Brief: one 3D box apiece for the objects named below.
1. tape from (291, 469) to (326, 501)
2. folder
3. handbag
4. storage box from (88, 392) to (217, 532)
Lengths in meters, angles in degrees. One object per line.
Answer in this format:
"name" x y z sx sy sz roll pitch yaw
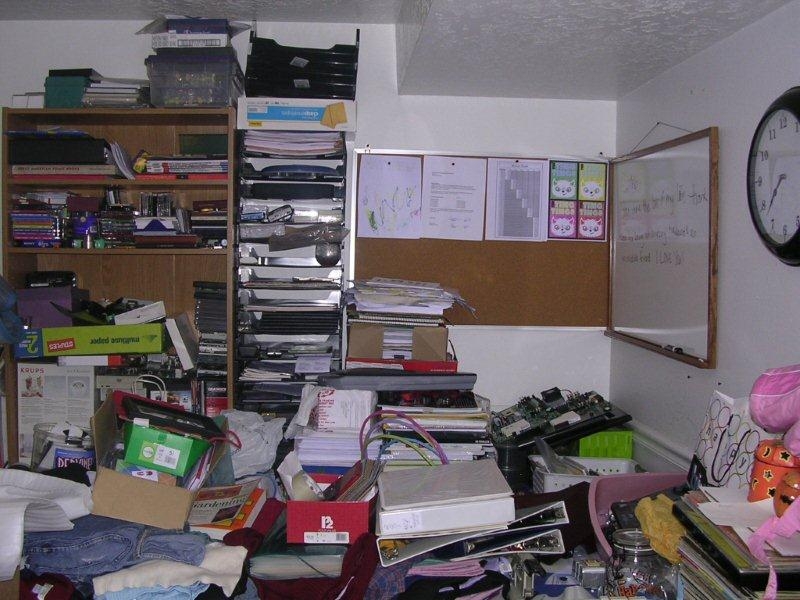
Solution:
"tape" -0.357 0.705 2.812 0.096 0.081 0.109 15 -1 1
"folder" 0.234 0.806 2.495 0.620 0.224 0.246 -4 6 -17
"handbag" 1.241 0.521 2.709 0.168 0.473 0.453 12 -7 0
"storage box" -1.003 0.605 2.893 0.434 0.435 0.505 -2 6 -2
